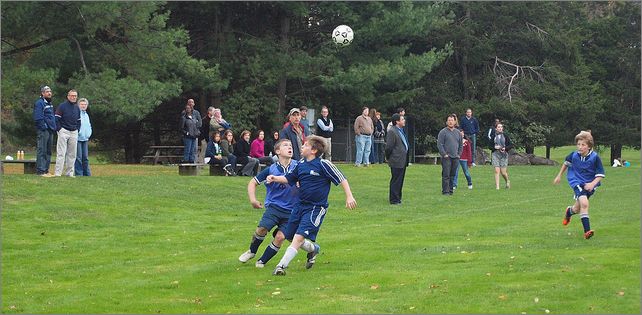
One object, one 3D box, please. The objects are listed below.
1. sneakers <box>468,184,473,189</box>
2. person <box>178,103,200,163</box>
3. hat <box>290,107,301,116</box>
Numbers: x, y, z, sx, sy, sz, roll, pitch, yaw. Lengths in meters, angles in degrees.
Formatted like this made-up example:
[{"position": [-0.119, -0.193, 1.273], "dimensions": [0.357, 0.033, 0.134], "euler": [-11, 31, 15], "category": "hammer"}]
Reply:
[{"position": [9.705, 1.920, 55.660], "dimensions": [0.244, 0.253, 0.661], "euler": [3, 7, 12], "category": "sneakers"}, {"position": [-8.692, -1.428, 56.464], "dimensions": [1.229, 3.781, 1.331], "euler": [0, -2, -1], "category": "person"}, {"position": [-1.640, -2.681, 51.739], "dimensions": [0.647, 0.450, 1.193], "euler": [0, -2, -3], "category": "hat"}]
